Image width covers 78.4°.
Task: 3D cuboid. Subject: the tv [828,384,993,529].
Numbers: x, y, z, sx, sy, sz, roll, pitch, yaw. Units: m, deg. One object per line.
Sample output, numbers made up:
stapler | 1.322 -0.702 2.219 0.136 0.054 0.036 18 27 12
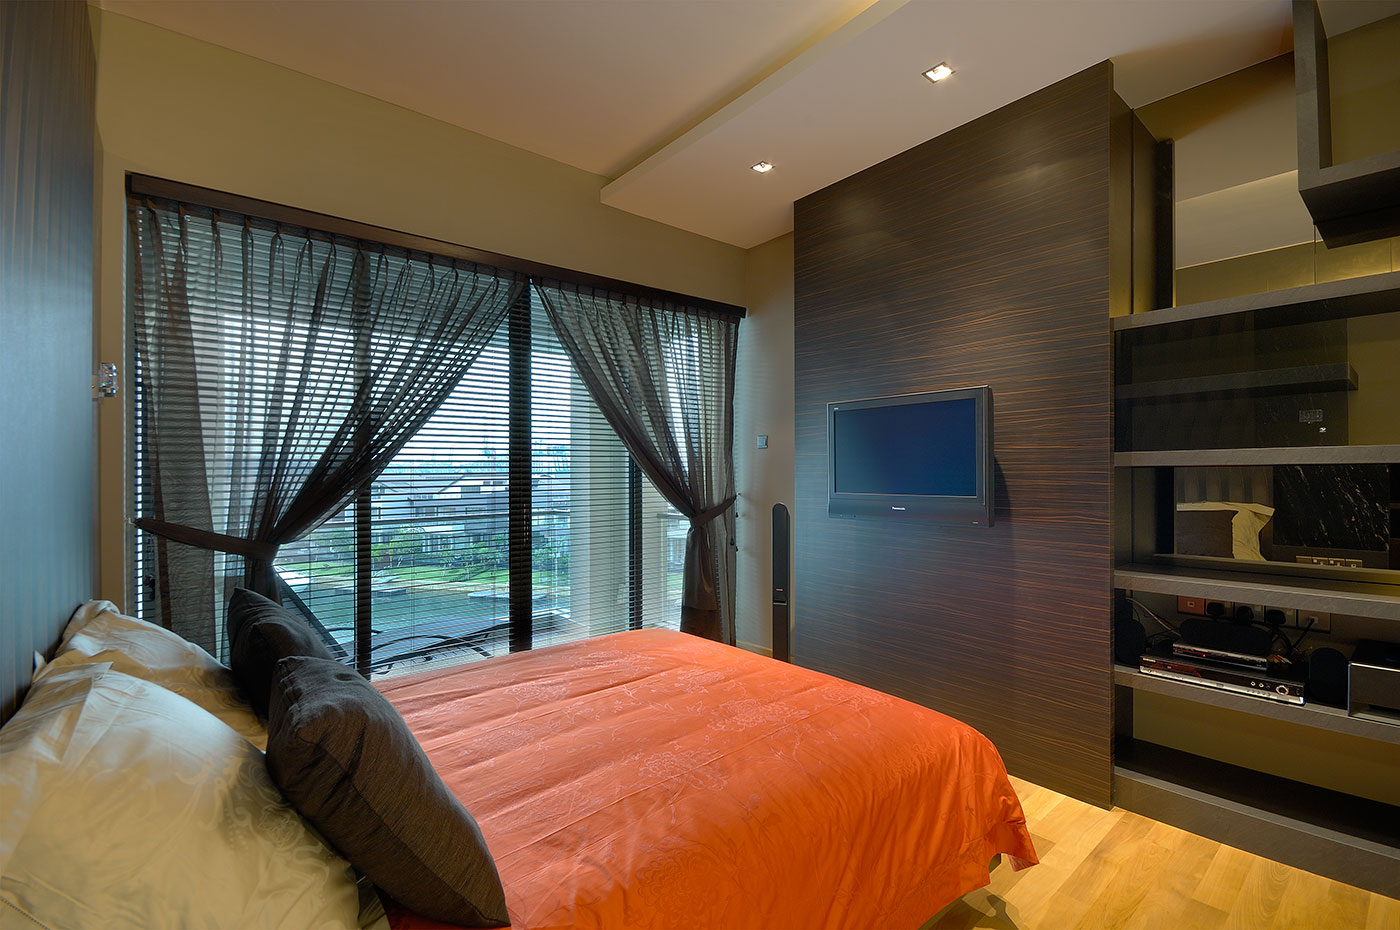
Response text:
tv | 1.167 -0.045 4.633 0.141 0.593 0.847 0 -2 -45
